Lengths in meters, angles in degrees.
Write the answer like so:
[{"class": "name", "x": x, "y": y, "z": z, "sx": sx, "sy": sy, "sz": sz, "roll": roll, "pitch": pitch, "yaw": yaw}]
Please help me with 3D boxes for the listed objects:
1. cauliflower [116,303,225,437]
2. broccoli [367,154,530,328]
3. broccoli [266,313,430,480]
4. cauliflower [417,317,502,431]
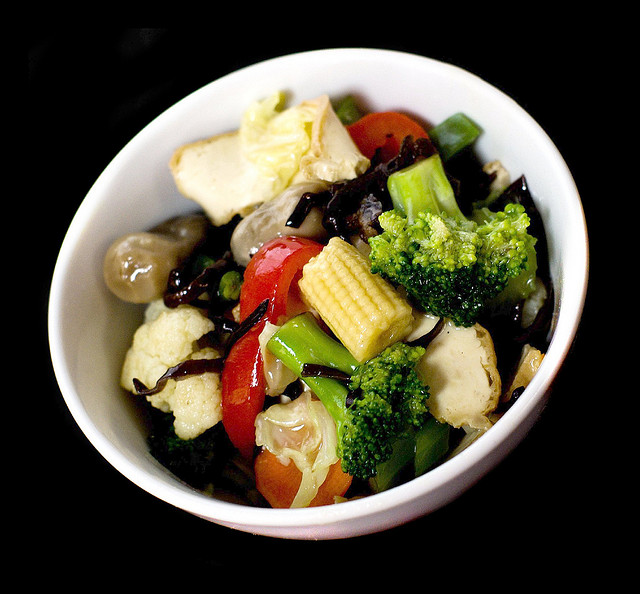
[{"class": "cauliflower", "x": -0.442, "y": 0.224, "z": 2.241, "sx": 0.342, "sy": 0.116, "sz": 0.382, "roll": 28, "pitch": 93, "yaw": 23}, {"class": "broccoli", "x": 0.341, "y": -0.167, "z": 2.021, "sx": 0.375, "sy": 0.274, "sz": 0.512, "roll": -4, "pitch": 60, "yaw": -7}, {"class": "broccoli", "x": 0.099, "y": 0.193, "z": 2.008, "sx": 0.359, "sy": 0.227, "sz": 0.467, "roll": -37, "pitch": 85, "yaw": -3}, {"class": "cauliflower", "x": 0.386, "y": 0.219, "z": 2.033, "sx": 0.218, "sy": 0.327, "sz": 0.267, "roll": -3, "pitch": 108, "yaw": -10}]
